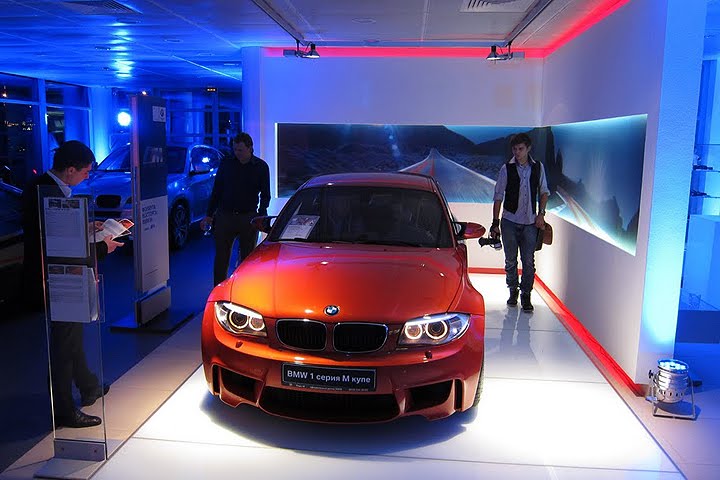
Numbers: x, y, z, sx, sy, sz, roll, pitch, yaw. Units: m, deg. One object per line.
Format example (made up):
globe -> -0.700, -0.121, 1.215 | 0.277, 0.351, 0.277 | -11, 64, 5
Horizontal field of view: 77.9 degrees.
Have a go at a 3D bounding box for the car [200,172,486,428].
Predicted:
car -> 0.019, 0.280, 4.269 | 1.607, 1.077, 2.712 | 3, 13, 6

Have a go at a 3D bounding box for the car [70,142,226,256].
car -> -4.150, -0.955, 9.240 | 1.909, 1.588, 4.092 | 2, 7, 8

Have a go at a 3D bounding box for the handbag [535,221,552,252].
handbag -> 2.467, -0.029, 5.829 | 0.146, 0.341, 0.262 | -1, 7, -28

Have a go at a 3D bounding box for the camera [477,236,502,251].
camera -> 1.608, 0.085, 5.518 | 0.240, 0.106, 0.240 | -1, 15, -6

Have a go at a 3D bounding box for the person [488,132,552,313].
person -> 2.094, -0.221, 5.923 | 0.659, 2.311, 0.441 | 5, 13, 17

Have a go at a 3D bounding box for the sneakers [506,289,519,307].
sneakers -> 2.060, 0.796, 6.107 | 0.113, 0.201, 0.301 | 3, 15, 8

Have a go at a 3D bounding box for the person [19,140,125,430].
person -> -2.120, 0.369, 3.278 | 0.519, 2.128, 0.959 | -9, 16, -37

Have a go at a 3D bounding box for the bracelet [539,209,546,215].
bracelet -> 2.362, -0.354, 5.790 | 0.050, 0.065, 0.166 | 0, -5, 19
